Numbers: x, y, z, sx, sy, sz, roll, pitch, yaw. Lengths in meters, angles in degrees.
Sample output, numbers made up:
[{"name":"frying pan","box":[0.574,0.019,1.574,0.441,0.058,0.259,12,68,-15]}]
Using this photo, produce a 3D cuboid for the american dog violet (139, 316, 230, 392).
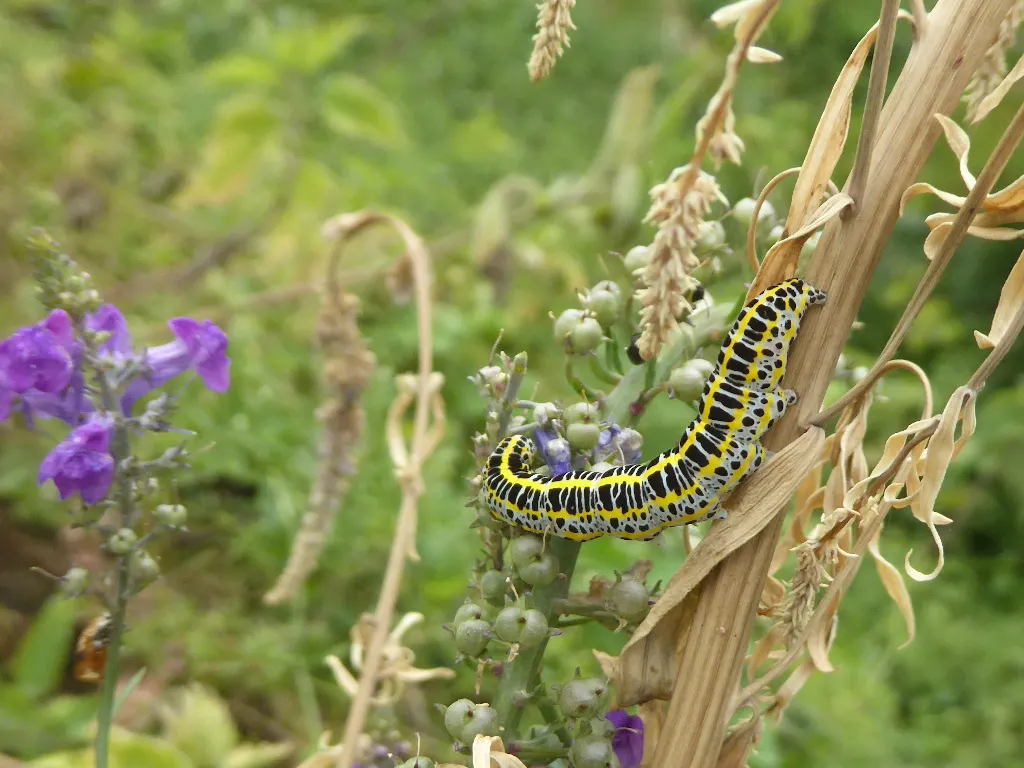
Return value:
[{"name":"american dog violet","box":[-0.588,-0.048,2.542,0.161,0.108,0.115,-17,86,34]}]
